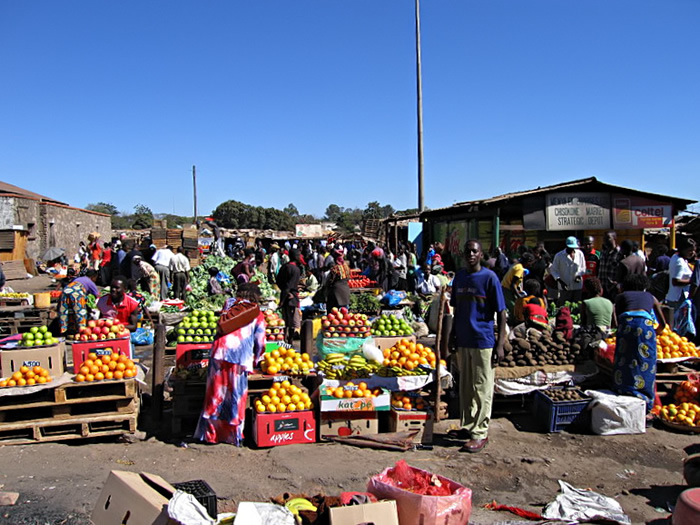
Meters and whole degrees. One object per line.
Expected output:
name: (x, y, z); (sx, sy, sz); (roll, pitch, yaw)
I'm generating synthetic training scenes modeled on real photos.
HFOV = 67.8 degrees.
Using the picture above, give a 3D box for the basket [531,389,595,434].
basket: (2.984, 2.040, 7.364); (0.638, 0.553, 0.634); (-1, 2, -13)

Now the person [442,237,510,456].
person: (1.584, 1.043, 6.758); (0.642, 2.656, 0.874); (-2, 2, -37)

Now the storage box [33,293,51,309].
storage box: (-7.284, 0.881, 12.233); (0.305, 0.350, 0.247); (-6, 12, -36)

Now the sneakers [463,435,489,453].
sneakers: (1.618, 2.314, 6.659); (0.335, 0.158, 0.134); (2, -1, -34)

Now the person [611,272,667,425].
person: (4.119, 1.146, 7.390); (0.673, 2.085, 0.780); (0, -2, 32)

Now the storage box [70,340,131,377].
storage box: (-3.580, 1.316, 7.554); (0.691, 0.502, 0.681); (3, 1, -10)
